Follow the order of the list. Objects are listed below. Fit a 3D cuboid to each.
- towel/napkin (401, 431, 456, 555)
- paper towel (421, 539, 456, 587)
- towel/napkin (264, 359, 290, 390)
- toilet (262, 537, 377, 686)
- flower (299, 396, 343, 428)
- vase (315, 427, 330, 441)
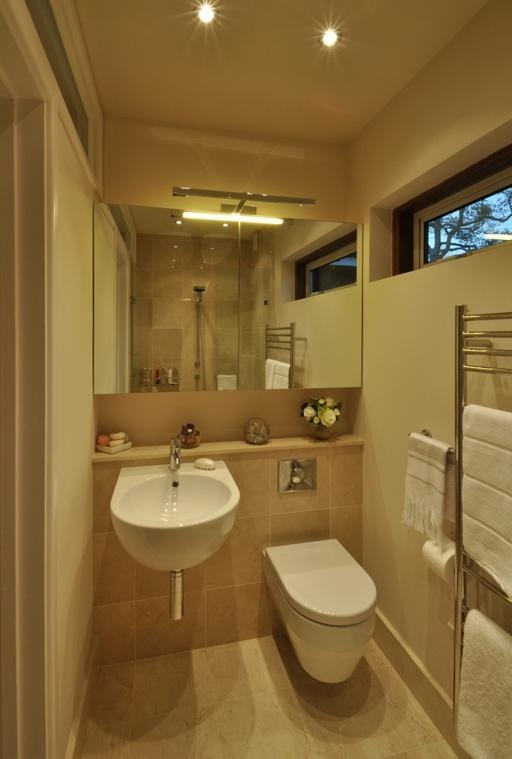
[{"bbox_3d":[0.537,0.339,1.632,0.073,0.299,0.263,-3,10,-18],"label":"towel/napkin"},{"bbox_3d":[0.553,0.539,1.528,0.099,0.114,0.130,-6,-8,-8],"label":"paper towel"},{"bbox_3d":[0.082,-0.024,2.113,0.095,0.137,0.016,0,7,-18],"label":"towel/napkin"},{"bbox_3d":[0.225,0.773,1.837,0.266,0.334,0.475,-1,0,-9],"label":"toilet"},{"bbox_3d":[0.287,0.163,2.276,0.185,0.161,0.240,1,10,7],"label":"flower"},{"bbox_3d":[0.293,0.238,2.250,0.067,0.062,0.041,-1,9,-5],"label":"vase"}]
